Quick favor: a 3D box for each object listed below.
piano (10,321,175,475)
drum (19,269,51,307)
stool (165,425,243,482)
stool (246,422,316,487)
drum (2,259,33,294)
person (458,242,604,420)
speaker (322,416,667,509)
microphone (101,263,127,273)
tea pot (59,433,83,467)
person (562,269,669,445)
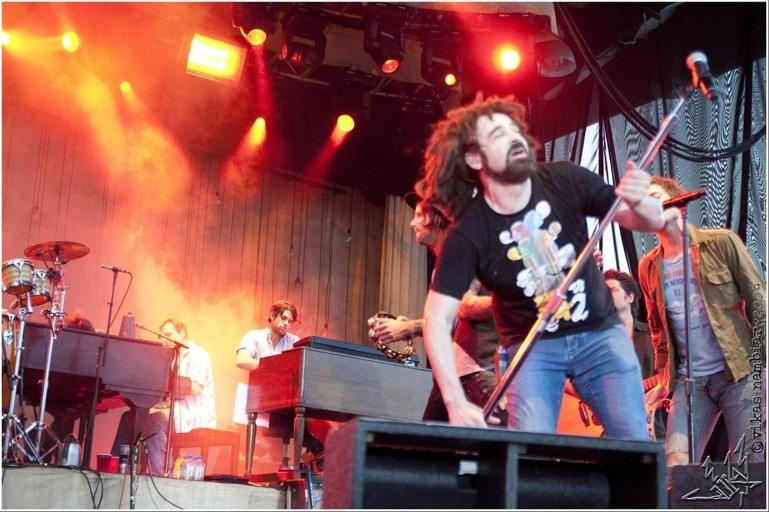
[{"bbox_3d":[-2.971,1.811,7.095,1.853,1.748,1.284,13,-15,-27],"label":"piano"},{"bbox_3d":[-3.414,0.302,6.595,0.286,0.268,0.296,-11,-19,25],"label":"drum"},{"bbox_3d":[-2.262,2.512,8.651,0.822,0.630,0.812,6,-12,-24],"label":"stool"},{"bbox_3d":[-1.136,1.877,6.609,0.593,0.656,0.589,10,-18,-24],"label":"stool"},{"bbox_3d":[-3.456,0.219,6.407,0.304,0.266,0.309,-4,-27,-13],"label":"drum"},{"bbox_3d":[0.716,0.466,3.666,0.527,0.896,1.288,5,-21,-12],"label":"person"},{"bbox_3d":[0.508,1.012,3.189,1.575,0.378,0.477,3,-21,-5],"label":"speaker"},{"bbox_3d":[-3.688,0.165,9.048,0.326,0.070,0.050,14,-41,-19],"label":"microphone"},{"bbox_3d":[-2.746,1.710,5.848,0.172,0.230,0.342,6,-21,-14],"label":"tea pot"},{"bbox_3d":[1.905,0.783,5.463,0.798,1.678,0.242,3,-2,26],"label":"person"}]
